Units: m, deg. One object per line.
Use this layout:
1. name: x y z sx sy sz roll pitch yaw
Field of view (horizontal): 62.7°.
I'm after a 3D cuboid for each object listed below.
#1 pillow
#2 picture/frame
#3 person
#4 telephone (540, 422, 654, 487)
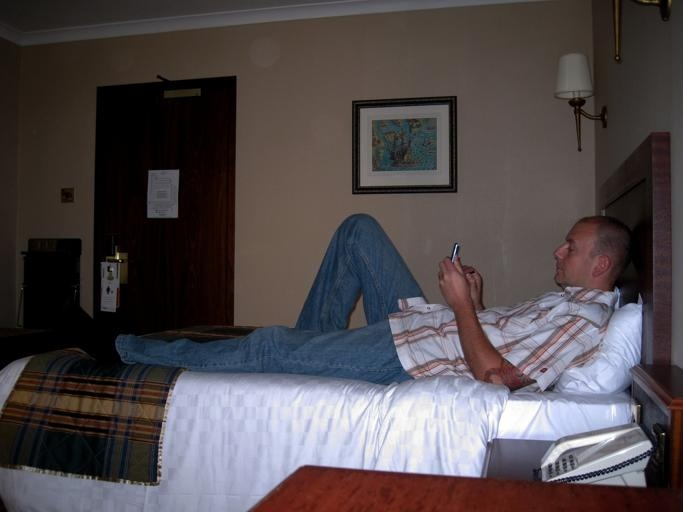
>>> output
1. pillow: 0.887 0.305 1.878 0.313 0.301 0.241 2 0 3
2. picture/frame: 0.461 -0.755 3.833 0.586 0.581 0.050 0 -2 8
3. person: 0.058 0.232 2.204 1.865 0.801 0.898 3 1 19
4. telephone: 0.625 0.495 1.389 0.212 0.073 0.169 -11 -1 16
